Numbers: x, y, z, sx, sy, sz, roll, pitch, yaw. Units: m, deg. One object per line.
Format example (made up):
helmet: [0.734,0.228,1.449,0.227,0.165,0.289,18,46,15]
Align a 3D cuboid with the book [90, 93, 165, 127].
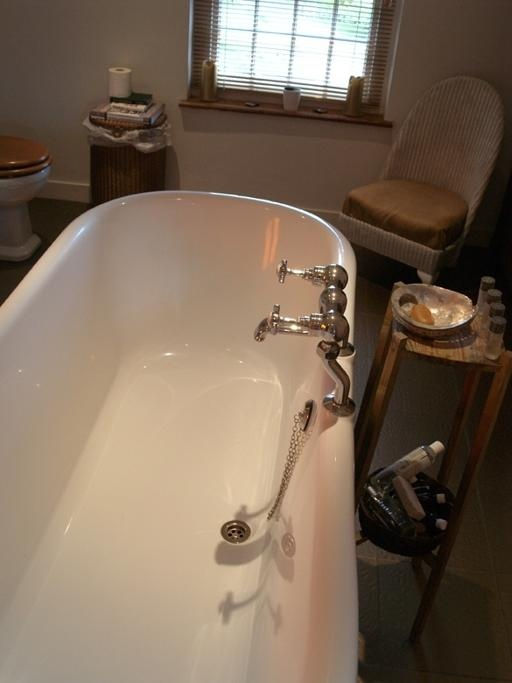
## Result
book: [-0.679,-1.224,2.697,0.409,0.162,0.259,-4,29,-18]

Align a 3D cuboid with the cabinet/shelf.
cabinet/shelf: [0.344,0.221,1.049,0.280,0.724,0.329,10,25,13]

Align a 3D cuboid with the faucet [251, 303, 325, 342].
faucet: [0.061,-0.031,0.909,0.119,0.079,0.058,5,31,3]

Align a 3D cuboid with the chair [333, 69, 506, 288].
chair: [0.839,-0.794,2.539,0.571,0.968,0.701,22,31,33]
